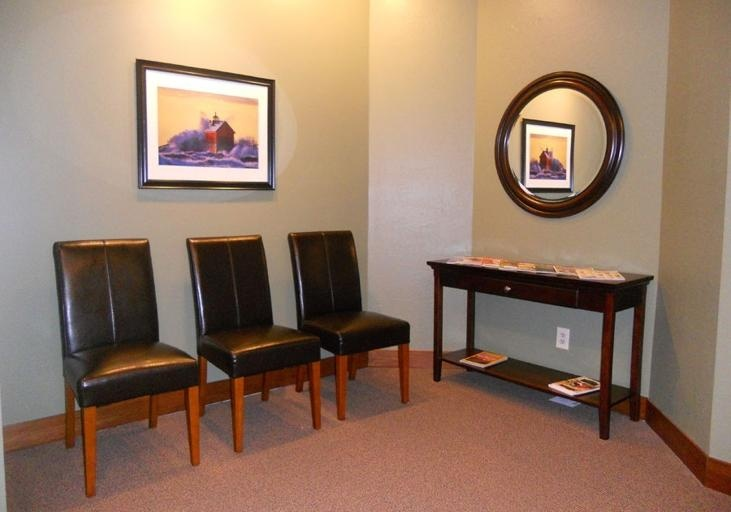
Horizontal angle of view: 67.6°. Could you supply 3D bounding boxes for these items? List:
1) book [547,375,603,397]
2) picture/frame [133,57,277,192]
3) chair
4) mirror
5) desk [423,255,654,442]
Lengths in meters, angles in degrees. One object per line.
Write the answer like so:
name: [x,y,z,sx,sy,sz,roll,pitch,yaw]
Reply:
book: [1.391,0.853,3.613,0.219,0.032,0.193,-4,6,-28]
picture/frame: [-1.109,-0.885,3.643,0.981,0.812,0.046,-2,3,-37]
chair: [-0.892,0.674,3.385,1.424,0.814,0.516,-3,5,-39]
mirror: [1.398,-0.781,3.833,0.076,1.065,1.019,-2,-5,-44]
desk: [1.237,0.639,3.752,0.385,0.703,1.079,-5,7,-41]
